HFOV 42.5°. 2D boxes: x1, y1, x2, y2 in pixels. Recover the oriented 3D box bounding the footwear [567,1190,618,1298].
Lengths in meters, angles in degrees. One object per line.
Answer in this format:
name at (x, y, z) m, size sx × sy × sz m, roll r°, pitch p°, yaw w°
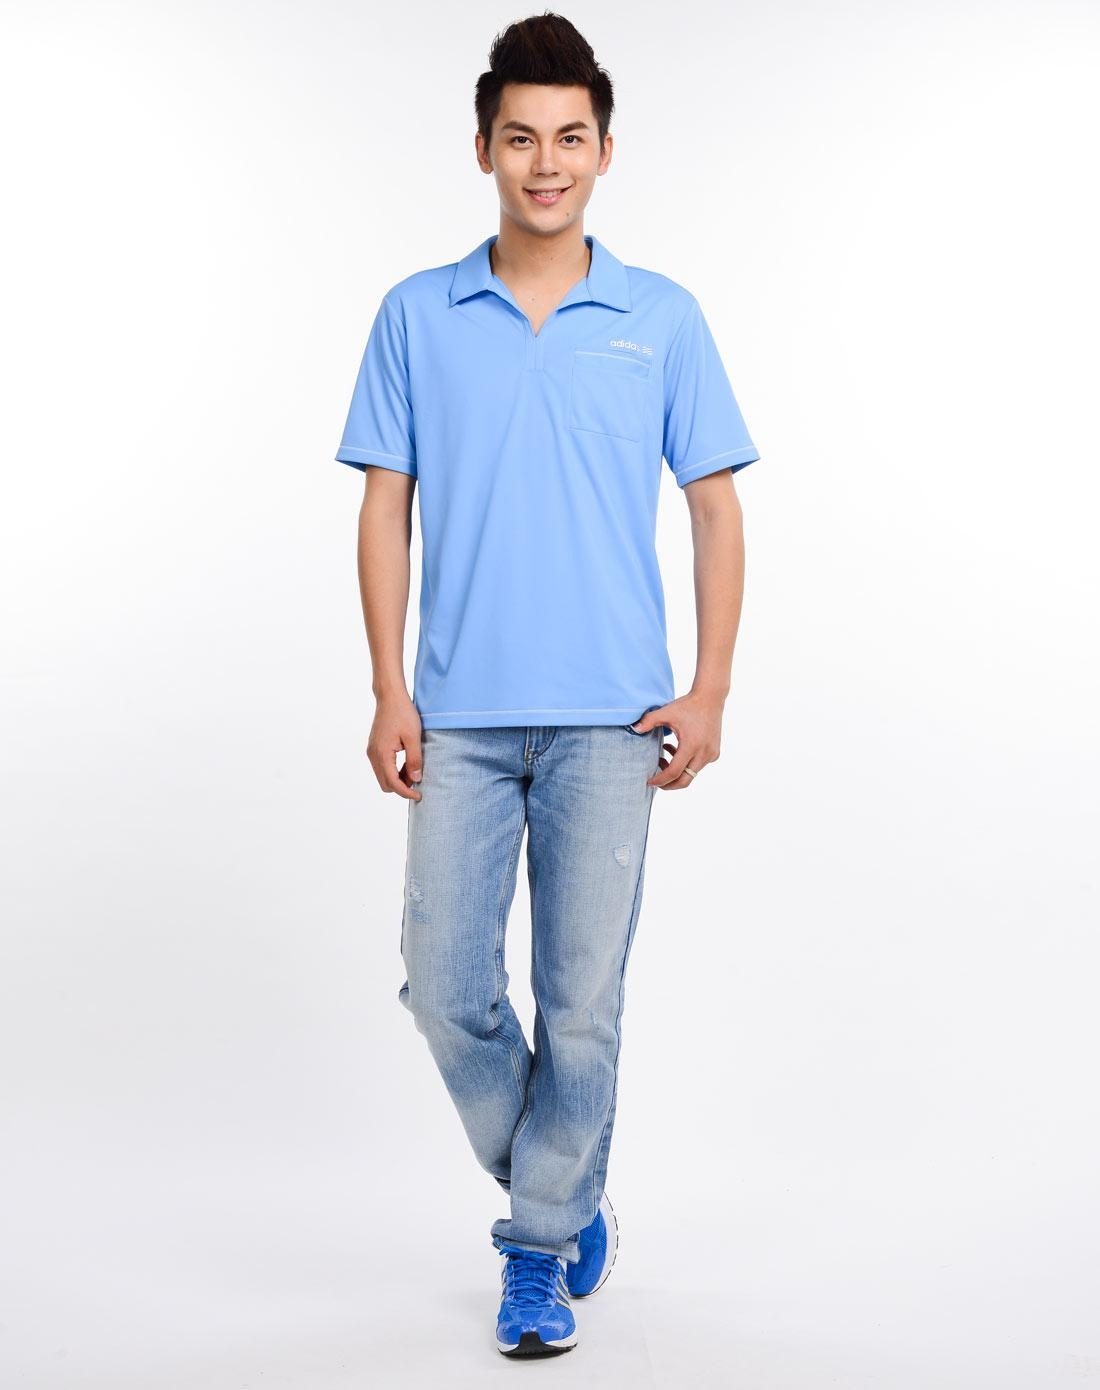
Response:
footwear at (0.074, 0.879, 2.242) m, size 0.066 × 0.187 × 0.083 m, roll 9°, pitch 25°, yaw 19°
